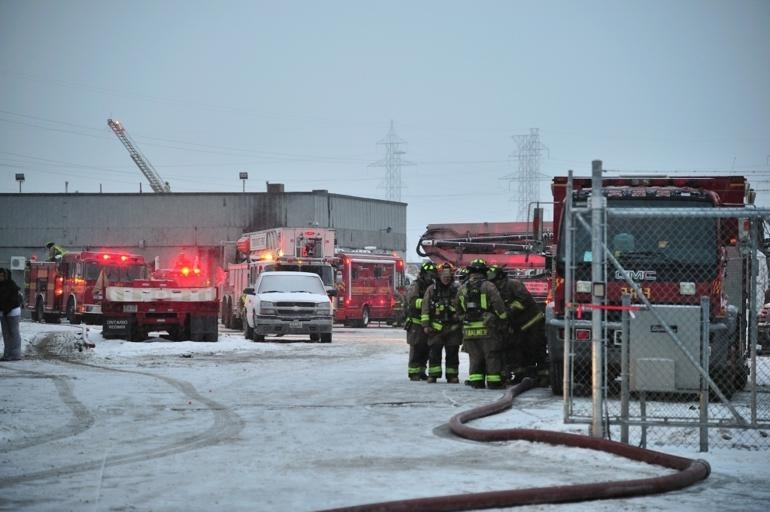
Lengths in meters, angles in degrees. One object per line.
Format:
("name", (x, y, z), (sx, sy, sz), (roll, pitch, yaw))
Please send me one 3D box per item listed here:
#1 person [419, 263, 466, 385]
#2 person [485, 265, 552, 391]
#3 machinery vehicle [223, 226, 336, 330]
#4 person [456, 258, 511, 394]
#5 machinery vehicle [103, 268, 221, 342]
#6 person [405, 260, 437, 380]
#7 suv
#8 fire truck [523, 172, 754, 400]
("person", (1.043, 1.305, 17.680), (0.787, 2.141, 0.685), (-1, -1, 5))
("person", (2.469, 1.328, 17.289), (1.067, 2.182, 0.957), (0, -1, -4))
("machinery vehicle", (-3.736, 0.617, 32.640), (3.272, 3.135, 8.423), (0, 0, -13))
("person", (1.762, 1.238, 16.804), (0.726, 2.292, 0.819), (-2, -2, 45))
("machinery vehicle", (-6.058, 1.489, 25.443), (3.008, 1.678, 1.290), (2, -6, -17))
("person", (0.775, 1.291, 17.917), (0.618, 2.077, 0.675), (0, -1, -15))
("suv", (-2.774, 1.465, 27.263), (2.518, 2.101, 1.779), (1, -6, -6))
("fire truck", (4.371, 0.054, 14.962), (3.056, 3.131, 6.157), (-1, -6, 18))
